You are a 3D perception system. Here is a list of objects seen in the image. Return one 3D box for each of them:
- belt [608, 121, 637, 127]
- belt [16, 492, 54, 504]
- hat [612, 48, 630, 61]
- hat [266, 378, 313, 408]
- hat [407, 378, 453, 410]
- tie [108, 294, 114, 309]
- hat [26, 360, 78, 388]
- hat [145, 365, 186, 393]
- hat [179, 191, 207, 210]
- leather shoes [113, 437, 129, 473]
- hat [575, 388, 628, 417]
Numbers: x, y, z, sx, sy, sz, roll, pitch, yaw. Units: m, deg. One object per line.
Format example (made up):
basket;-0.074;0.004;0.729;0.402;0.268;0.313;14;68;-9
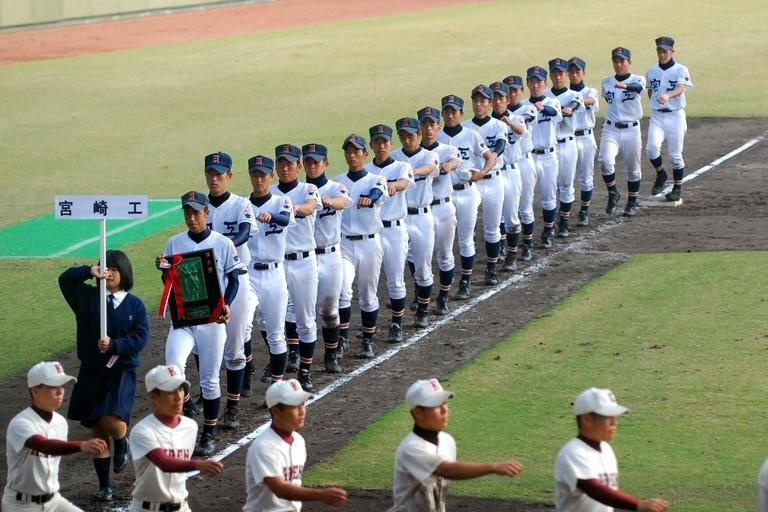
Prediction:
belt;4.490;-2.519;25.462;0.591;0.136;0.220;-2;13;6
belt;-4.320;3.005;16.563;0.463;0.159;0.069;-6;15;-11
hat;4.443;-3.824;25.223;0.300;0.227;0.282;-5;13;-1
hat;-1.162;1.638;15.962;0.515;0.185;0.318;-6;4;15
hat;0.486;1.654;15.947;0.539;0.211;0.366;-10;0;23
tie;-3.679;0.609;18.001;0.067;0.164;0.057;-1;-13;-14
hat;-4.156;1.470;16.659;0.584;0.218;0.322;2;5;12
hat;-2.717;1.510;16.359;0.456;0.200;0.342;-21;-12;39
hat;-2.620;-0.763;18.476;0.369;0.265;0.278;-7;14;-10
leather shoes;-3.559;2.702;18.189;0.225;0.482;0.266;2;12;8
hat;2.561;1.743;15.870;0.604;0.181;0.335;2;5;11
